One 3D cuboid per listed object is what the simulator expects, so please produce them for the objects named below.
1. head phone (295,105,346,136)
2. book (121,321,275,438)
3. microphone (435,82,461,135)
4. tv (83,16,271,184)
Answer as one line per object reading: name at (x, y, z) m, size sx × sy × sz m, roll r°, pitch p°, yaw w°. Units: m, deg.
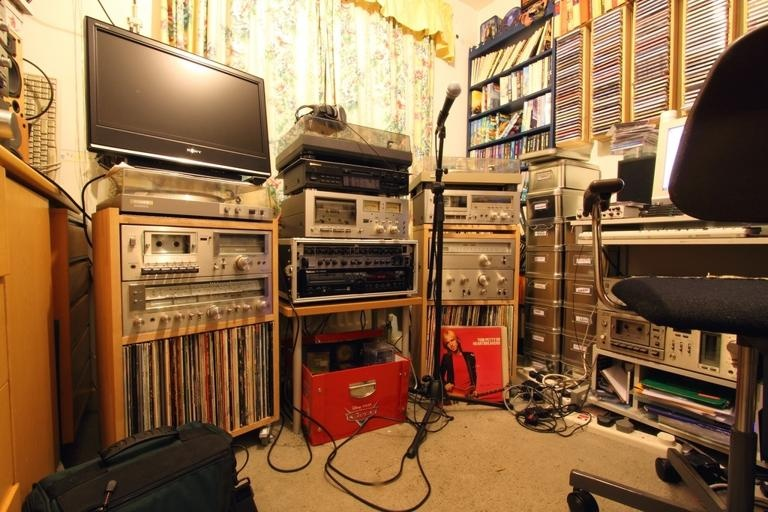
head phone at (-0.366, -0.763, 3.119) m, size 0.259 × 0.170 × 0.274 m, roll 12°, pitch 15°, yaw 43°
book at (-0.887, 0.567, 2.550) m, size 0.596 × 0.518 × 0.223 m, roll 0°, pitch 0°, yaw -35°
microphone at (0.297, -0.746, 2.776) m, size 0.081 × 0.076 × 0.332 m, roll -44°, pitch -15°, yaw -22°
tv at (-1.070, -0.766, 2.777) m, size 1.052 × 0.713 × 0.109 m, roll 6°, pitch -10°, yaw -34°
